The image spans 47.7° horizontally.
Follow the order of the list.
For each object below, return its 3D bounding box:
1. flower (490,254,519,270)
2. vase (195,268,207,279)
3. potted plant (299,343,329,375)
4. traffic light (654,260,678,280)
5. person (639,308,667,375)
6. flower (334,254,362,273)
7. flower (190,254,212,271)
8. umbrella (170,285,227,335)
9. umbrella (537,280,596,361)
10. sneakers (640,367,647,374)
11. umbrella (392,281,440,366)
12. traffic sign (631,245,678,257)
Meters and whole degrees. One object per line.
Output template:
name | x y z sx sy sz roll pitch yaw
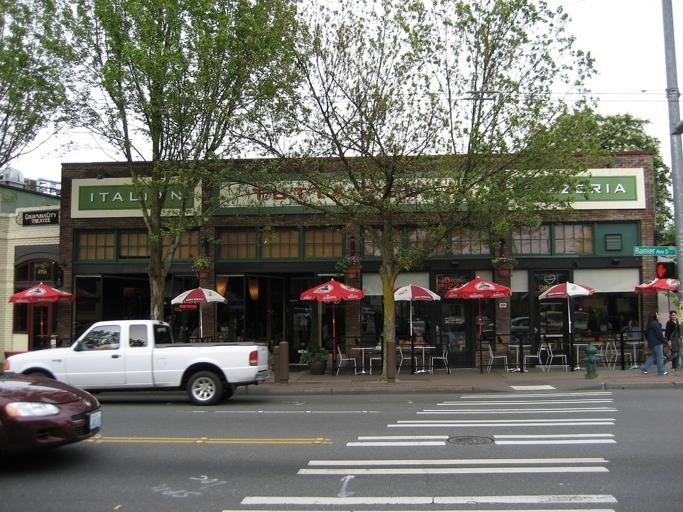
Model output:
flower | 5.786 0.287 27.428 0.915 0.507 0.483 -1 2 3
vase | -4.981 0.653 27.605 0.353 0.338 0.744 -1 1 -7
potted plant | -0.944 3.602 26.340 1.044 0.896 0.972 0 -9 -3
traffic light | 11.075 0.529 26.403 0.744 0.480 0.410 2 -3 -40
person | 9.793 2.796 24.288 0.906 1.971 0.733 -13 -21 44
flower | 0.271 0.335 27.572 0.789 0.492 0.680 2 1 -14
flower | -4.991 0.274 27.403 0.649 0.389 0.623 4 -10 -34
umbrella | -4.801 1.782 26.502 2.060 1.953 1.917 -2 -9 3
umbrella | 7.646 2.301 26.183 1.658 2.786 2.563 0 2 16
sneakers | 9.638 3.697 24.571 0.161 0.156 0.421 -4 -19 11
umbrella | 2.644 2.482 26.658 1.622 2.984 2.544 -1 2 6
traffic sign | 10.386 -0.135 25.481 1.204 0.346 2.659 0 1 23
